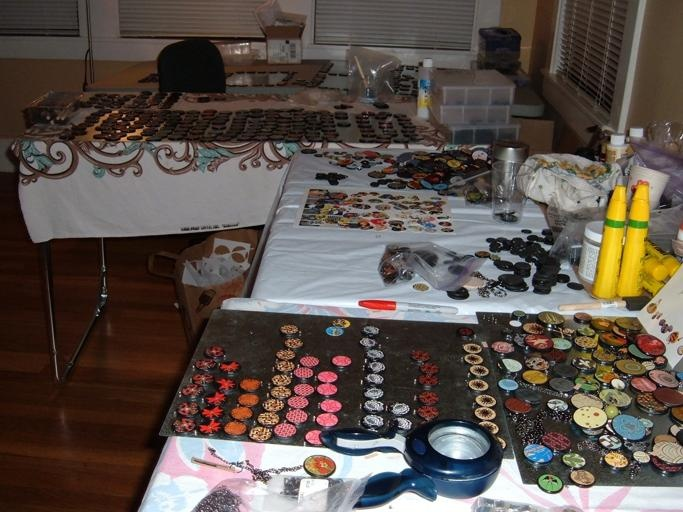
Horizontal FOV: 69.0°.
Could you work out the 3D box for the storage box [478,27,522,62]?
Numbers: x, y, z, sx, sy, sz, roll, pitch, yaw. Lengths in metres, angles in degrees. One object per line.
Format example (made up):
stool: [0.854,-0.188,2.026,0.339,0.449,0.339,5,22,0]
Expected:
storage box: [0.968,-1.284,3.093,0.303,0.151,0.240,12,41,12]

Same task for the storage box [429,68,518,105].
storage box: [0.553,-0.728,2.137,0.288,0.126,0.342,1,24,1]

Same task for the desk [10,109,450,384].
desk: [-0.478,-0.048,2.765,2.423,1.170,1.059,-3,51,-7]

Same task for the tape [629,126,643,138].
tape: [0.871,-0.367,1.476,0.051,0.025,0.041,8,15,9]
